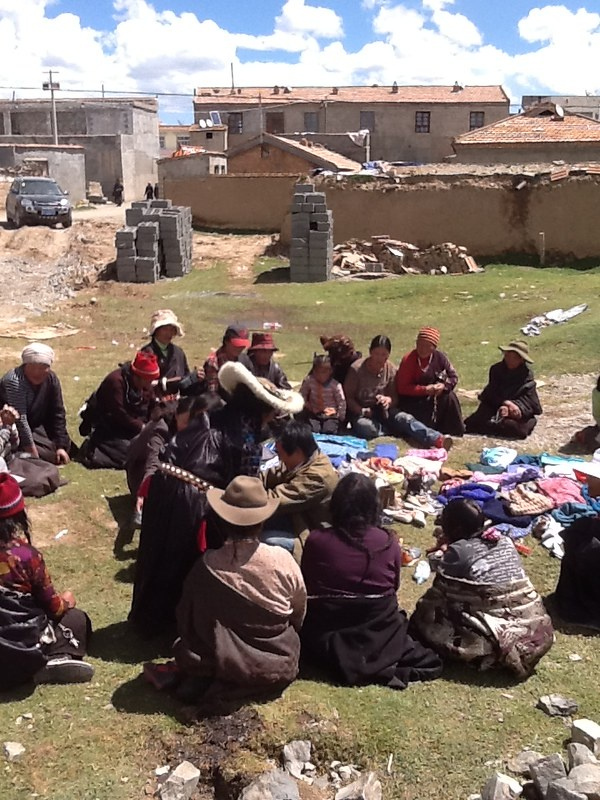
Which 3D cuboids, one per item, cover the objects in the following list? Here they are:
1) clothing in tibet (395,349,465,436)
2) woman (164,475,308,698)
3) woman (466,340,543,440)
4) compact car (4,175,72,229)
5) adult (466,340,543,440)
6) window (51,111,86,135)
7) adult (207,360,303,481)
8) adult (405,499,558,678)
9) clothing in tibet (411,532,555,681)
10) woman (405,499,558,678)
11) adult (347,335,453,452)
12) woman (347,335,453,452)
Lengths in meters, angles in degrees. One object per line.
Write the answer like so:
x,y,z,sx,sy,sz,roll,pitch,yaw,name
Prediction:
1.315,-0.136,7.669,0.645,0.996,0.995,-7,30,2,clothing in tibet
-0.289,0.893,3.520,0.630,1.078,0.298,-4,11,-9,woman
2.081,-0.115,7.792,0.879,0.926,0.726,3,20,10,woman
-8.174,-6.110,23.314,1.413,1.104,2.422,-4,11,-23,compact car
2.135,-0.133,7.815,0.793,0.927,0.685,10,20,26,adult
-12.671,-15.405,41.788,1.783,1.509,0.455,-2,9,-4,window
-0.280,0.146,4.673,0.563,0.343,0.753,13,0,8,adult
0.971,0.996,4.060,0.702,0.829,0.664,-4,-1,17,adult
0.973,1.093,4.025,0.685,0.353,0.858,-7,23,-16,clothing in tibet
0.968,1.000,4.055,0.734,0.867,0.692,-4,0,16,woman
0.957,-0.052,7.417,0.683,0.997,1.391,-12,26,-31,adult
0.956,-0.057,7.422,0.693,1.001,1.390,-14,27,-33,woman
